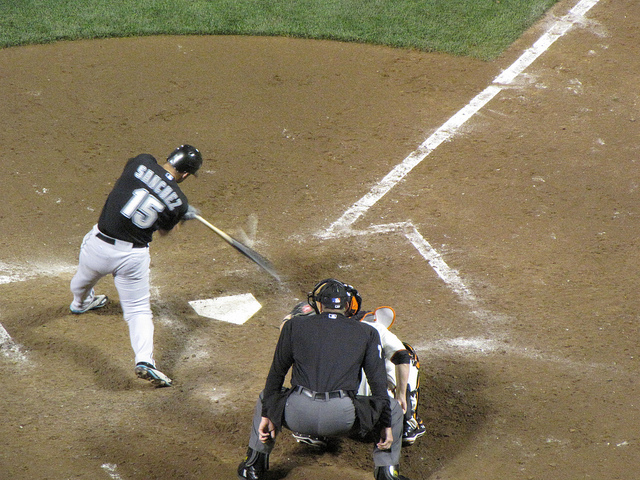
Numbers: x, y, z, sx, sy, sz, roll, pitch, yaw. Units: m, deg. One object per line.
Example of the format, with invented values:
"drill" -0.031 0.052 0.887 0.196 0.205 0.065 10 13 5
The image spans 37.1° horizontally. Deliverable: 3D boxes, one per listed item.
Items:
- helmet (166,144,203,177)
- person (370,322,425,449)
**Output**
"helmet" -1.511 -0.909 11.017 0.347 0.407 0.279 -20 76 4
"person" 0.887 1.491 10.074 0.477 1.066 1.123 -16 83 4
